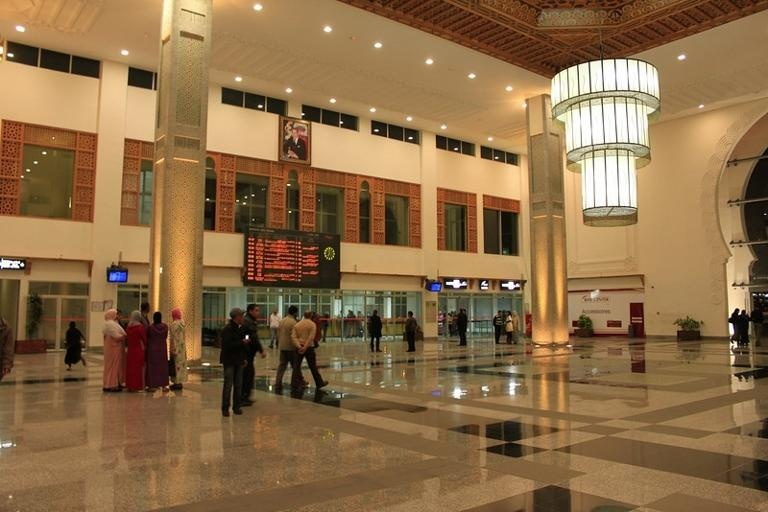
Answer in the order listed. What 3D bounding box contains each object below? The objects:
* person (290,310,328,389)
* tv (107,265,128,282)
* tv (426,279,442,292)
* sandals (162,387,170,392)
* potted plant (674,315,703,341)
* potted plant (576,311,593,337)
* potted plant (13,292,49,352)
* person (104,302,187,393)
[{"bbox_3d":[-1.756,2.130,13.867,0.727,1.354,1.375,0,0,-7],"label":"person"},{"bbox_3d":[-10.090,0.668,22.561,0.356,0.590,0.653,6,4,43],"label":"tv"},{"bbox_3d":[2.435,1.467,30.033,0.554,0.469,0.310,6,23,-35],"label":"tv"},{"bbox_3d":[-4.886,2.994,13.387,0.117,0.027,0.117,3,2,34],"label":"sandals"},{"bbox_3d":[14.361,3.399,28.361,1.193,1.223,0.917,-1,0,-37],"label":"potted plant"},{"bbox_3d":[10.667,3.750,32.220,1.008,1.565,1.019,1,0,34],"label":"potted plant"},{"bbox_3d":[-12.614,2.419,21.354,0.942,2.082,0.634,0,0,-39],"label":"potted plant"},{"bbox_3d":[-5.334,2.127,13.359,1.338,1.812,0.705,0,0,-22],"label":"person"}]
